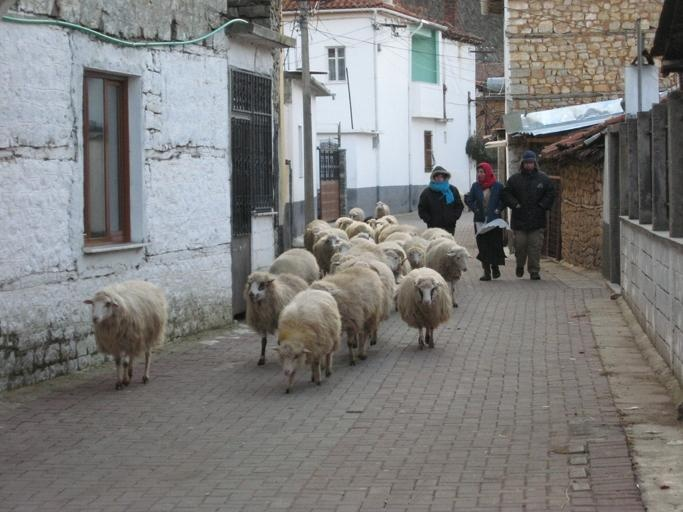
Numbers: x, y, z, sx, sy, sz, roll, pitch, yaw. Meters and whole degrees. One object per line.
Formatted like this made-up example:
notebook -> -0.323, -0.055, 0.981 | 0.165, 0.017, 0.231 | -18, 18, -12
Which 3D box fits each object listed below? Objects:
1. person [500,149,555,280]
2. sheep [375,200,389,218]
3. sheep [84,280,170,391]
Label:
person -> 4.304, -0.896, 14.803 | 1.074, 2.919, 0.567 | -1, 6, 18
sheep -> 1.163, -1.418, 19.867 | 0.426, 0.573, 0.769 | -1, -1, 11
sheep -> -2.594, 0.952, 7.769 | 0.613, 1.194, 1.607 | 1, -3, 3
